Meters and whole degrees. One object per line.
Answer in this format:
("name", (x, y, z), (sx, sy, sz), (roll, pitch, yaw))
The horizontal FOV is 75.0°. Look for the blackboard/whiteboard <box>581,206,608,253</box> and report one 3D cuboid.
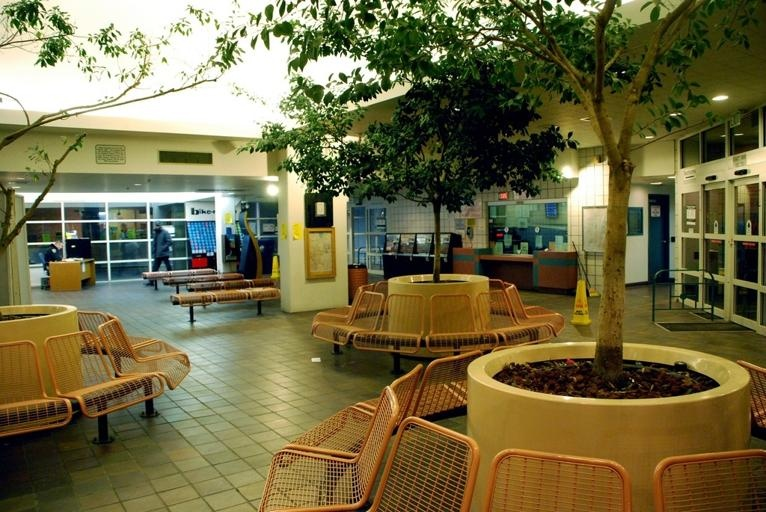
("blackboard/whiteboard", (6.115, -0.780, 14.325), (0.293, 1.330, 0.771), (-4, 2, -21))
